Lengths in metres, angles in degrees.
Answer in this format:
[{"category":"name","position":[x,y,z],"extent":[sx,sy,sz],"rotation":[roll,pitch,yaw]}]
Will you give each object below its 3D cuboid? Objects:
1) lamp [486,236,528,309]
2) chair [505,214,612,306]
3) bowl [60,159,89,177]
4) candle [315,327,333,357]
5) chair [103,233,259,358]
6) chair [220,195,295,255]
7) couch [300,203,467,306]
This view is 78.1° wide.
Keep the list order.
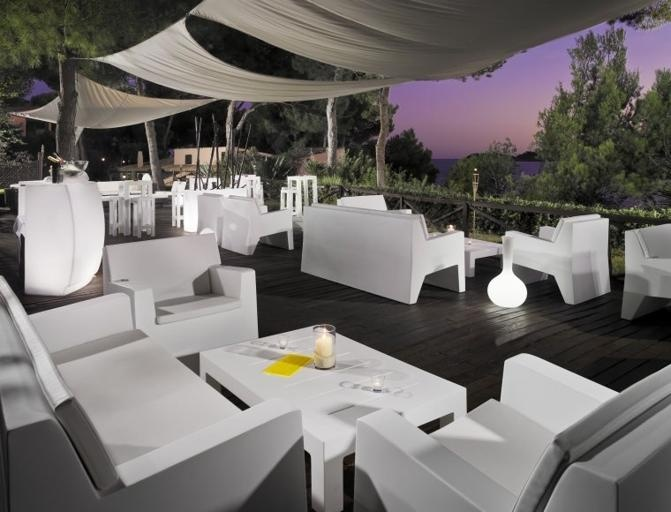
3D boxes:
[{"category":"lamp","position":[1.778,0.173,4.233],"extent":[0.356,0.742,0.188],"rotation":[4,10,24]},{"category":"chair","position":[2.551,-0.193,4.831],"extent":[0.973,1.267,1.088],"rotation":[-6,12,-31]},{"category":"bowl","position":[-3.124,-1.055,4.916],"extent":[0.281,0.196,0.294],"rotation":[0,10,0]},{"category":"candle","position":[-0.063,0.487,2.328],"extent":[0.114,0.165,0.128],"rotation":[0,-3,-4]},{"category":"chair","position":[-1.265,0.286,3.437],"extent":[1.193,1.267,0.870],"rotation":[-5,5,-40]},{"category":"chair","position":[-1.383,-0.573,7.320],"extent":[1.016,1.136,0.935],"rotation":[-7,9,-41]},{"category":"couch","position":[0.546,-0.078,5.003],"extent":[1.917,1.014,0.789],"rotation":[6,11,30]}]
